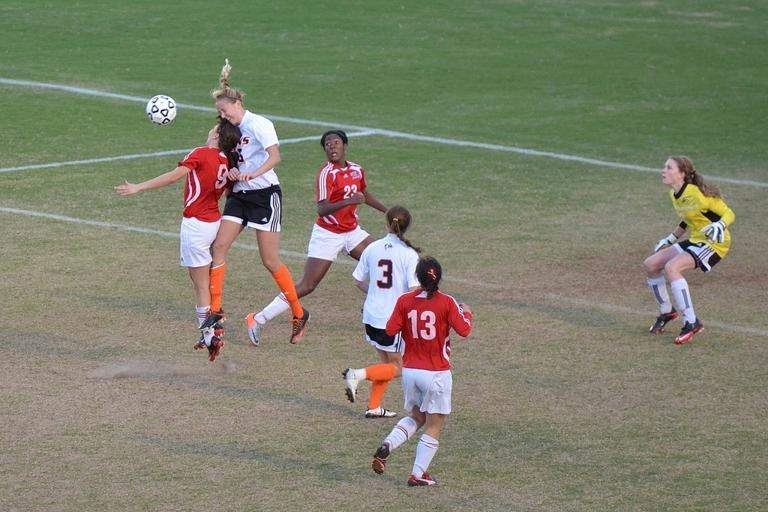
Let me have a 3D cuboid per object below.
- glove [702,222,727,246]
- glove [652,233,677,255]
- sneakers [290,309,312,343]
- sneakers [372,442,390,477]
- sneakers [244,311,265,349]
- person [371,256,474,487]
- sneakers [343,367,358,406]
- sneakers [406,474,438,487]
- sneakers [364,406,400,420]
[{"bbox_3d":[5.299,-0.363,24.732,0.414,0.105,0.344,-12,33,-17],"label":"glove"},{"bbox_3d":[4.632,-0.192,25.421,0.560,0.176,0.183,-23,9,8],"label":"glove"},{"bbox_3d":[-1.389,1.092,24.482,0.284,0.520,0.298,12,-3,29],"label":"sneakers"},{"bbox_3d":[-0.047,2.853,21.956,0.230,0.456,0.243,22,21,19],"label":"sneakers"},{"bbox_3d":[-2.075,1.157,24.387,0.329,0.508,0.223,-9,8,9],"label":"sneakers"},{"bbox_3d":[0.554,1.600,22.002,1.215,3.140,1.156,5,18,2],"label":"person"},{"bbox_3d":[-0.505,1.890,22.725,0.217,0.543,0.251,3,18,-1],"label":"sneakers"},{"bbox_3d":[0.516,3.140,21.963,0.476,0.154,0.149,-2,20,-9],"label":"sneakers"},{"bbox_3d":[-0.016,2.313,23.090,0.556,0.173,0.167,-2,9,-5],"label":"sneakers"}]
